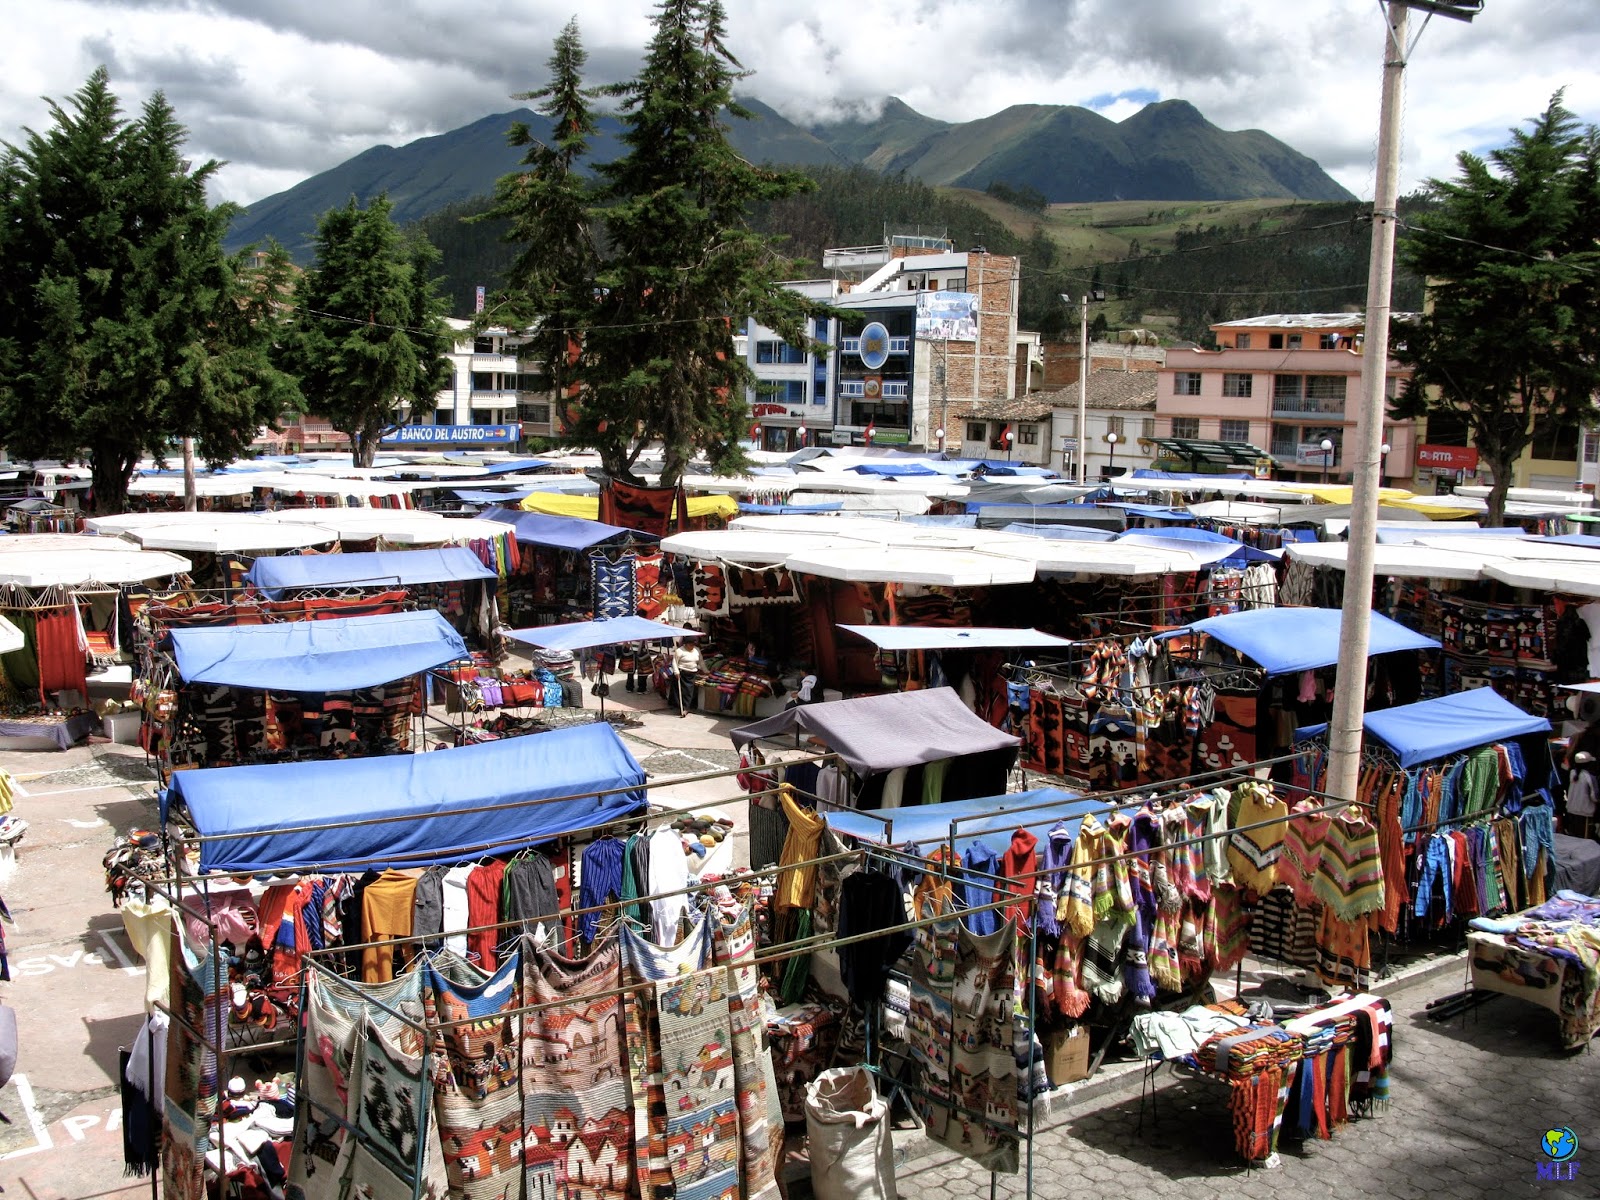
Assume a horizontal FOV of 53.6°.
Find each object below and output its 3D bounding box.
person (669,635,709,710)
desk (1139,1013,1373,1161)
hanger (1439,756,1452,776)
[{"bbox_3d":[-1.935,1.297,27.971,0.640,1.006,1.959,-2,9,-5],"label":"person"},{"bbox_3d":[4.284,4.388,14.511,1.770,1.091,0.816,-8,12,-36],"label":"desk"},{"bbox_3d":[6.997,1.779,17.045,0.080,0.111,0.230,7,13,42],"label":"hanger"}]
